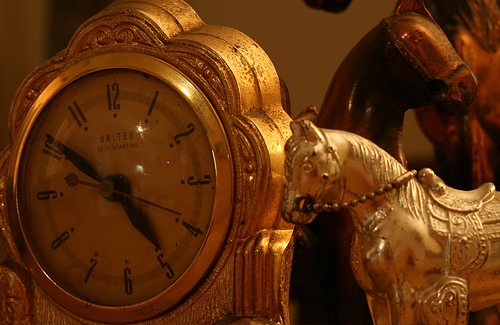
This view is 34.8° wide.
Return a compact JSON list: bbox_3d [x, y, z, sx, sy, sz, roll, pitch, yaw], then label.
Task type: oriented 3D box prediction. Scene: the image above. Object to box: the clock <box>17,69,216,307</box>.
[{"bbox_3d":[-0.223,0.049,1.426,0.385,0.437,0.055,4,1,13],"label":"clock"}]
